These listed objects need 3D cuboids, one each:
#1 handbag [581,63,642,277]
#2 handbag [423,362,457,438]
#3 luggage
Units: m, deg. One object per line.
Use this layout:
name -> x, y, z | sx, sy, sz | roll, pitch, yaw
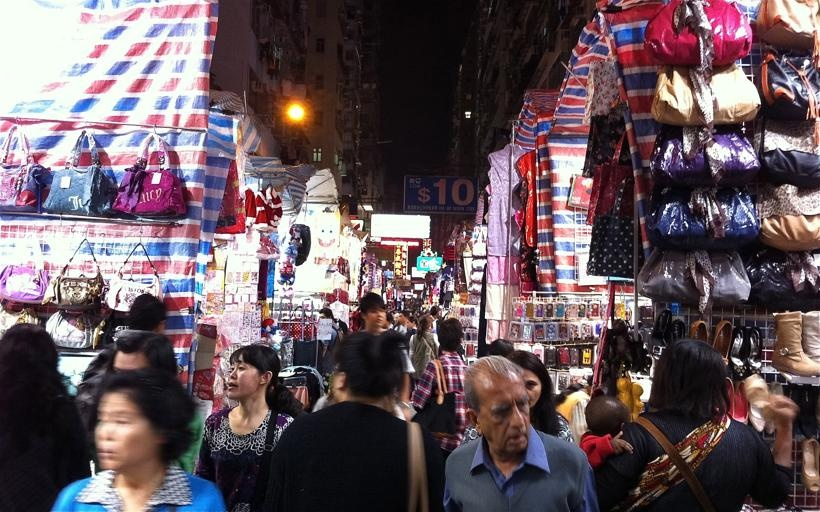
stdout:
handbag -> 1.968, -0.857, 7.074 | 0.492, 2.237, 1.026 | -2, -10, 15
handbag -> 0.288, 1.437, 7.009 | 0.305, 0.597, 0.247 | 2, 0, 4
luggage -> -1.880, 1.467, 11.585 | 0.815, 2.257, 0.795 | 0, -1, -11
